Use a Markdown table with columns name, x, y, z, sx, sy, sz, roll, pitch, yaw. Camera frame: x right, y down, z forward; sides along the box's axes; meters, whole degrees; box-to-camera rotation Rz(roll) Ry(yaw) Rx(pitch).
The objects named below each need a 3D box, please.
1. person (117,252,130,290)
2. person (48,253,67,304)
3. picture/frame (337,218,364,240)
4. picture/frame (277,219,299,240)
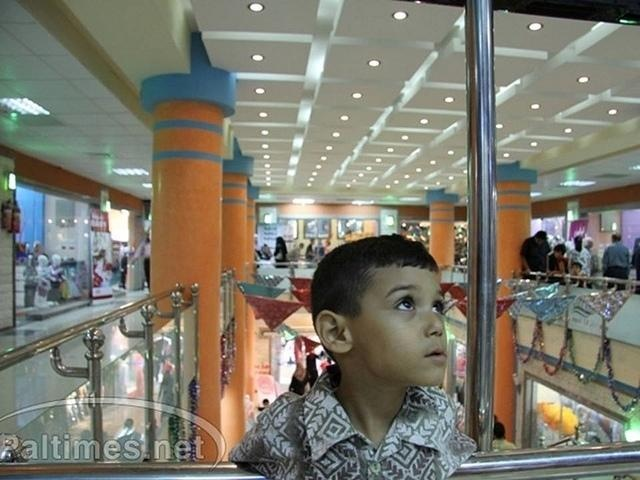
| name | x | y | z | sx | sy | sz | roll | pitch | yaw |
| --- | --- | --- | --- | --- | --- | --- | --- | --- | --- |
| person | -5.832 | 0.930 | 13.725 | 0.186 | 1.086 | 0.470 | 1 | -2 | -8 |
| person | -5.423 | 0.827 | 9.486 | 0.355 | 1.006 | 0.340 | -1 | 14 | -30 |
| picture/frame | 1.028 | -0.408 | 16.800 | 0.806 | 0.819 | 0.432 | -1 | -1 | -1 |
| picture/frame | -1.288 | -0.409 | 19.019 | 0.774 | 0.812 | 1.439 | 2 | -2 | -5 |
